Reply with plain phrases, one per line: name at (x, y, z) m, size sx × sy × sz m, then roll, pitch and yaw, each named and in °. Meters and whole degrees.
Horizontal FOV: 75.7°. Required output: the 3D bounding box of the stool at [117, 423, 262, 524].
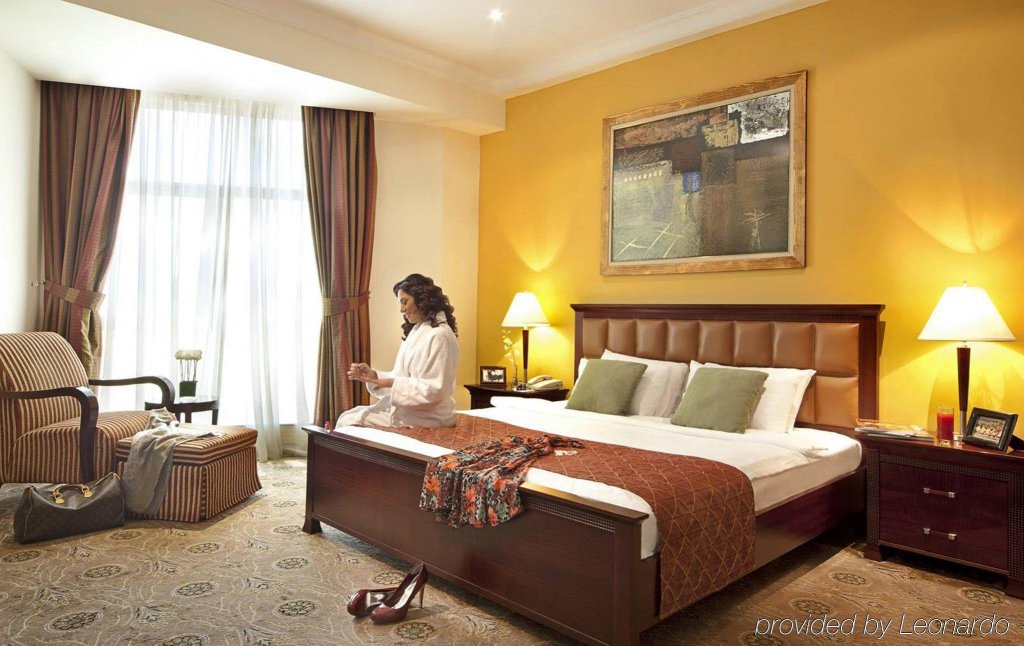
stool at (-2.647, 1.307, 5.700) m, size 0.952 × 0.437 × 0.783 m, roll -2°, pitch -2°, yaw 25°

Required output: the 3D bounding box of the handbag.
handbag at (-3.543, 1.470, 5.276) m, size 0.382 × 0.387 × 0.678 m, roll 2°, pitch -1°, yaw 38°

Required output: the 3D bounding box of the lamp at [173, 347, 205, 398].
lamp at (-3.292, 0.486, 6.737) m, size 0.227 × 0.558 × 0.577 m, roll -6°, pitch 15°, yaw -26°

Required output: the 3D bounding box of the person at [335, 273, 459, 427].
person at (-0.971, 0.270, 5.468) m, size 1.091 × 1.265 × 0.880 m, roll -3°, pitch 5°, yaw -22°

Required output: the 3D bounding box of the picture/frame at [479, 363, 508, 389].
picture/frame at (-0.198, 0.580, 7.186) m, size 0.279 × 0.183 × 0.021 m, roll -1°, pitch -3°, yaw 28°

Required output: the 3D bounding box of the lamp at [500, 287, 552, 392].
lamp at (0.141, 0.216, 7.208) m, size 0.597 × 1.055 × 0.567 m, roll 1°, pitch -5°, yaw -24°

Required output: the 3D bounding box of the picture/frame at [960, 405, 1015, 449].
picture/frame at (3.452, 0.767, 4.777) m, size 0.282 × 0.266 × 0.221 m, roll 10°, pitch 16°, yaw 34°
